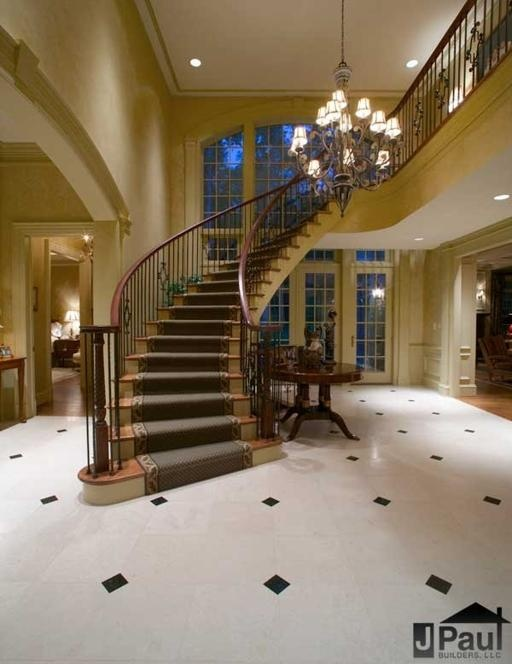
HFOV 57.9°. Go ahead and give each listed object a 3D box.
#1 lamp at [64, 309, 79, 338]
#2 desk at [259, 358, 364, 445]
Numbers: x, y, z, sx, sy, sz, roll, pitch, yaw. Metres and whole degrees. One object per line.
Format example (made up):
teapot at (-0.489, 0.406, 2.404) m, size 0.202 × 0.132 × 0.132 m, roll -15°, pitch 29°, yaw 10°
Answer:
lamp at (-4.622, -0.217, 11.500) m, size 0.348 × 0.623 × 0.772 m, roll -3°, pitch 6°, yaw -24°
desk at (0.595, 0.660, 4.613) m, size 0.916 × 0.700 × 0.936 m, roll -2°, pitch 7°, yaw -5°
